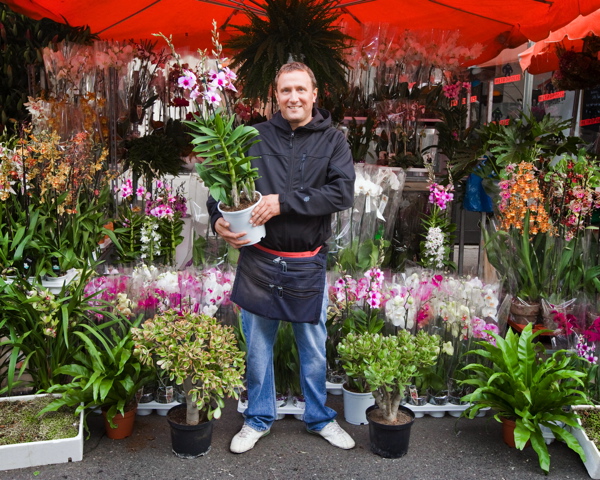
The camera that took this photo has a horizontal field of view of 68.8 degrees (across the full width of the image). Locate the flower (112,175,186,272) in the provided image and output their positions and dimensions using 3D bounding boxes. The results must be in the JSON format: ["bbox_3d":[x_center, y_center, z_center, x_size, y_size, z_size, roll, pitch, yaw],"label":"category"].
[{"bbox_3d":[-1.352,-0.152,4.043,0.765,1.046,0.702,0,2,-8],"label":"flower"}]

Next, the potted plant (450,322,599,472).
[{"bbox_3d":[1.311,0.836,2.578,0.731,0.563,0.760,-3,12,-13],"label":"potted plant"}]

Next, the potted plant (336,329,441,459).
[{"bbox_3d":[0.468,0.775,2.635,0.690,0.831,0.604,-1,3,-4],"label":"potted plant"}]

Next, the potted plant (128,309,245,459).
[{"bbox_3d":[-0.584,0.780,2.378,0.611,0.789,0.385,4,9,21],"label":"potted plant"}]

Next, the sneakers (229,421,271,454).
[{"bbox_3d":[-0.281,1.117,2.509,0.088,0.107,0.257,18,14,28],"label":"sneakers"}]

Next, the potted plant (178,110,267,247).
[{"bbox_3d":[-0.367,-0.301,2.246,0.371,0.694,0.362,0,8,-6],"label":"potted plant"}]

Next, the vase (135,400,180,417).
[{"bbox_3d":[-0.909,1.068,2.770,0.199,0.075,0.146,1,0,-2],"label":"vase"}]

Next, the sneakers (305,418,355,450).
[{"bbox_3d":[0.176,1.105,2.562,0.280,0.121,0.113,14,25,28],"label":"sneakers"}]

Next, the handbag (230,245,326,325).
[{"bbox_3d":[-0.110,0.246,2.341,0.568,0.431,0.366,6,-3,4],"label":"handbag"}]
